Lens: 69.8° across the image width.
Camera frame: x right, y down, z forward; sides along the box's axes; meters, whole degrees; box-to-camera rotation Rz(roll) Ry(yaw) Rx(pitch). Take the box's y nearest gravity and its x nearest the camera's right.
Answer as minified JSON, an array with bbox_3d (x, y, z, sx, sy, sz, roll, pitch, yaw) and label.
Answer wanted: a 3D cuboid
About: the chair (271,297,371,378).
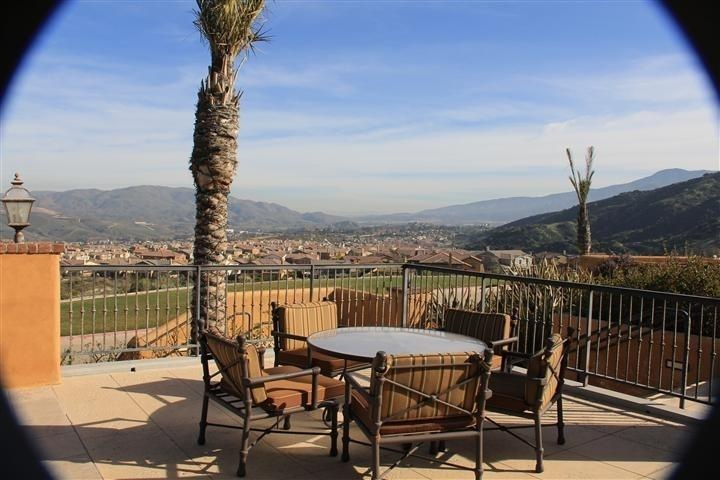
[{"bbox_3d":[-0.460,1.084,6.178,1.066,0.797,0.971,1,1,-43],"label":"chair"}]

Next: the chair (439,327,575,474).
[{"bbox_3d":[1.797,1.572,5.797,1.384,1.402,1.364,2,1,39],"label":"chair"}]

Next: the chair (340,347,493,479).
[{"bbox_3d":[0.601,1.586,5.220,1.311,1.223,1.451,1,-3,-8],"label":"chair"}]

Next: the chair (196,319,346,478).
[{"bbox_3d":[-0.875,1.435,5.633,1.617,1.421,1.505,-1,6,-33],"label":"chair"}]

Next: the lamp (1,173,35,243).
[{"bbox_3d":[-4.913,-0.541,7.284,0.355,0.614,0.406,-1,-1,-4],"label":"lamp"}]
